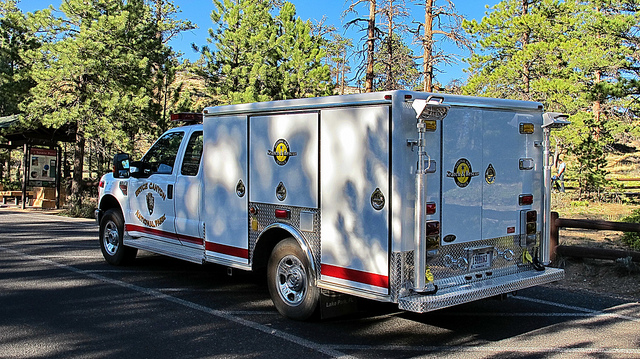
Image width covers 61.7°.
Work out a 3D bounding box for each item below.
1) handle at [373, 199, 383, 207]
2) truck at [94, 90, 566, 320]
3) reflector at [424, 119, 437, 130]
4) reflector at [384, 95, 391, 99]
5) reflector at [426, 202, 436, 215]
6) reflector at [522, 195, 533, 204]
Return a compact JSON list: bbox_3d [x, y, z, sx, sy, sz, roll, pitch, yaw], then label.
[{"bbox_3d":[1.222,0.479,11.138,0.195,0.152,0.026,7,13,27],"label":"handle"},{"bbox_3d":[0.269,0.431,12.881,10.358,5.189,3.245,6,13,26],"label":"truck"},{"bbox_3d":[2.360,-1.155,11.261,0.230,0.209,0.054,-4,6,-24],"label":"reflector"},{"bbox_3d":[1.412,-1.702,11.016,0.118,0.077,0.019,3,12,11],"label":"reflector"},{"bbox_3d":[2.337,0.599,11.236,0.262,0.221,0.141,1,-5,-27],"label":"reflector"},{"bbox_3d":[4.770,0.450,12.294,0.324,0.262,0.164,0,0,-8],"label":"reflector"}]
